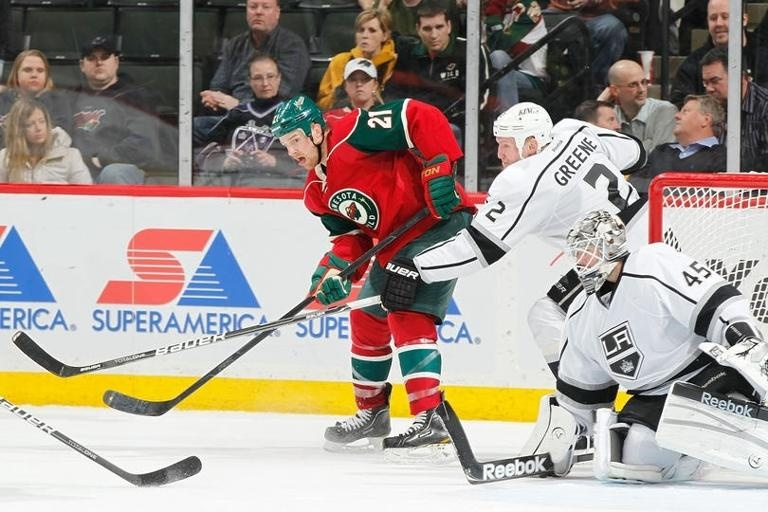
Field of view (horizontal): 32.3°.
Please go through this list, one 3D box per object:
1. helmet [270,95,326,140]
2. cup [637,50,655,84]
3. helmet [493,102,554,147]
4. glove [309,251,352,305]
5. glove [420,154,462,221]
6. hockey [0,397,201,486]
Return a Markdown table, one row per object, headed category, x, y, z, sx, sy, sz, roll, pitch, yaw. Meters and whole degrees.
| category | x | y | z | sx | sy | sz | roll | pitch | yaw |
| --- | --- | --- | --- | --- | --- | --- | --- | --- | --- |
| helmet | -0.439 | -0.687 | 6.643 | 0.252 | 0.216 | 0.190 | 6 | -15 | -39 |
| cup | 1.457 | -1.069 | 7.458 | 0.086 | 0.174 | 0.038 | 0 | 15 | 8 |
| helmet | 0.659 | -0.637 | 6.407 | 0.257 | 0.183 | 0.198 | 4 | 4 | 6 |
| glove | -0.271 | 0.118 | 6.654 | 0.116 | 0.255 | 0.250 | 26 | 20 | -31 |
| glove | 0.267 | -0.331 | 6.394 | 0.190 | 0.291 | 0.112 | -19 | 0 | 25 |
| hockey | -1.295 | 0.878 | 6.233 | 0.883 | 0.371 | 0.260 | 1 | 15 | 12 |
